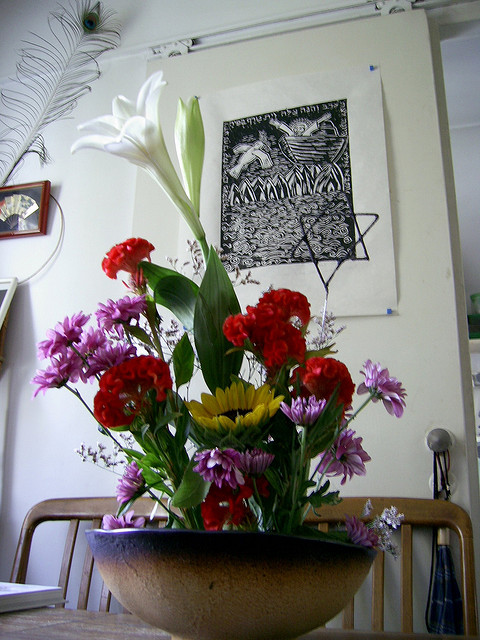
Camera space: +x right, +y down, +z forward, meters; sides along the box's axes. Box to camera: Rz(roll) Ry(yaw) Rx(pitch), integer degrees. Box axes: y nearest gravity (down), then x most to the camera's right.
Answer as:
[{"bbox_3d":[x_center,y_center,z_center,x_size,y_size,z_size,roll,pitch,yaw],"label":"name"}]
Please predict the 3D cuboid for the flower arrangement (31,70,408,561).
[{"bbox_3d":[-0.048,-0.054,0.639,0.384,0.660,0.385,9,-21,-29],"label":"flower arrangement"}]
